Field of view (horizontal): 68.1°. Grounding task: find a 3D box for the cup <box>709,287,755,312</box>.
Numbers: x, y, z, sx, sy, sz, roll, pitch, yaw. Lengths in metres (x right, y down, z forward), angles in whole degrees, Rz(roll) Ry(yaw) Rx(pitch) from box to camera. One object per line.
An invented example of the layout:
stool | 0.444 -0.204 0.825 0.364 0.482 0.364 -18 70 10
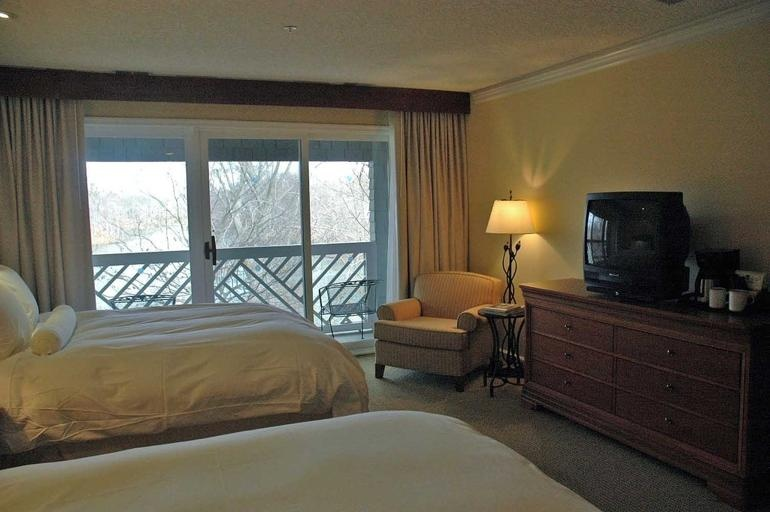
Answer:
cup | 2.315 0.297 3.860 0.259 0.114 0.137 1 -2 -39
